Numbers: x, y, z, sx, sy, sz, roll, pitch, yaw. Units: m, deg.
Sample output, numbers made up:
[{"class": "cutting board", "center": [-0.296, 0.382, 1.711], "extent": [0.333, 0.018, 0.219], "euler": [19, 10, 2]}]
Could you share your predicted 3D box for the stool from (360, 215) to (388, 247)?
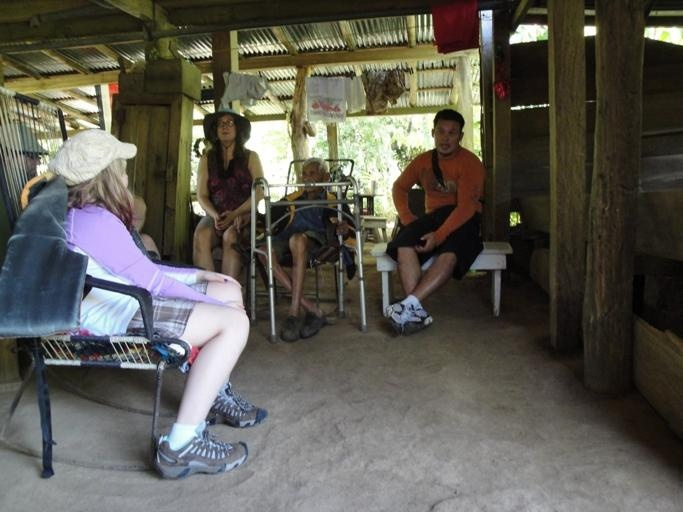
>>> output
[{"class": "stool", "center": [0.504, -0.378, 8.505], "extent": [0.302, 0.328, 0.634], "euler": [-3, 9, -7]}]

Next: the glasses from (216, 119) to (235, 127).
[{"class": "glasses", "center": [-0.984, -1.126, 4.601], "extent": [0.148, 0.092, 0.084], "euler": [-4, 13, -11]}]

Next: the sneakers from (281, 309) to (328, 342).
[{"class": "sneakers", "center": [-0.285, 0.511, 4.020], "extent": [0.142, 0.133, 0.344], "euler": [-1, 5, 20]}]

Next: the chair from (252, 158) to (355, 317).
[{"class": "chair", "center": [-0.327, -0.126, 4.365], "extent": [0.799, 1.521, 0.788], "euler": [3, -10, 5]}]

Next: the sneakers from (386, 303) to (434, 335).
[{"class": "sneakers", "center": [0.469, 0.424, 3.935], "extent": [0.434, 0.177, 0.206], "euler": [0, -36, -36]}]

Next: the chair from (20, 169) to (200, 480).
[{"class": "chair", "center": [-1.094, 0.321, 2.523], "extent": [0.843, 1.171, 0.872], "euler": [1, -11, 24]}]
